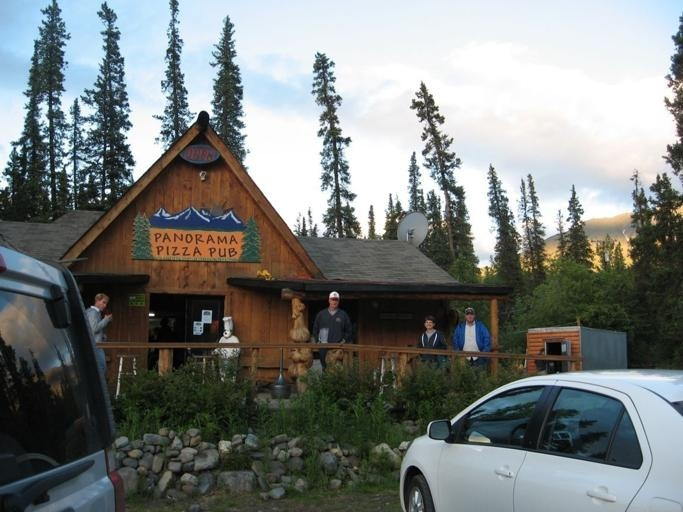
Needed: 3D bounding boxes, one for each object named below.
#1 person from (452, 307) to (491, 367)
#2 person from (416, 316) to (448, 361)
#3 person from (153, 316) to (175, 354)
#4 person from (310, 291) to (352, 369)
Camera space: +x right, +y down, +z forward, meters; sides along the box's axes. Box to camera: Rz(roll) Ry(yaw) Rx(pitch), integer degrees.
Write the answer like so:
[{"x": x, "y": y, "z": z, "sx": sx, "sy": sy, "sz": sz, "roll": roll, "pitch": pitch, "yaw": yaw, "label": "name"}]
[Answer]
[{"x": 2.512, "y": 1.686, "z": 15.005, "sx": 0.658, "sy": 1.588, "sz": 0.436, "roll": -2, "pitch": 33, "yaw": 12, "label": "person"}, {"x": 1.661, "y": 1.583, "z": 14.556, "sx": 0.569, "sy": 0.939, "sz": 0.499, "roll": -13, "pitch": -31, "yaw": 28, "label": "person"}, {"x": -4.860, "y": 1.988, "z": 21.375, "sx": 0.485, "sy": 0.693, "sz": 1.639, "roll": 1, "pitch": -7, "yaw": -13, "label": "person"}, {"x": -0.162, "y": 1.361, "z": 14.905, "sx": 0.733, "sy": 1.475, "sz": 1.226, "roll": 0, "pitch": -7, "yaw": -3, "label": "person"}]
